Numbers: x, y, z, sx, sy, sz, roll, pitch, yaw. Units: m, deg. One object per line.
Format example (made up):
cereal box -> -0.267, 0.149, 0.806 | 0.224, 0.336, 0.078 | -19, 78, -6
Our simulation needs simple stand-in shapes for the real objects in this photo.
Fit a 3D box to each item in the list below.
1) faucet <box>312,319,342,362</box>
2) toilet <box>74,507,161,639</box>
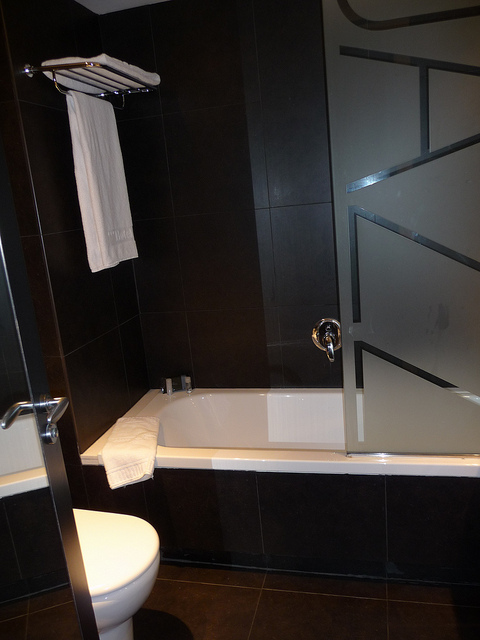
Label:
faucet -> 0.378, 0.099, 2.325 | 0.129, 0.230, 0.068 | -1, -34, 2
toilet -> -0.392, 0.779, 1.736 | 0.280, 0.274, 0.384 | -1, -5, -2
